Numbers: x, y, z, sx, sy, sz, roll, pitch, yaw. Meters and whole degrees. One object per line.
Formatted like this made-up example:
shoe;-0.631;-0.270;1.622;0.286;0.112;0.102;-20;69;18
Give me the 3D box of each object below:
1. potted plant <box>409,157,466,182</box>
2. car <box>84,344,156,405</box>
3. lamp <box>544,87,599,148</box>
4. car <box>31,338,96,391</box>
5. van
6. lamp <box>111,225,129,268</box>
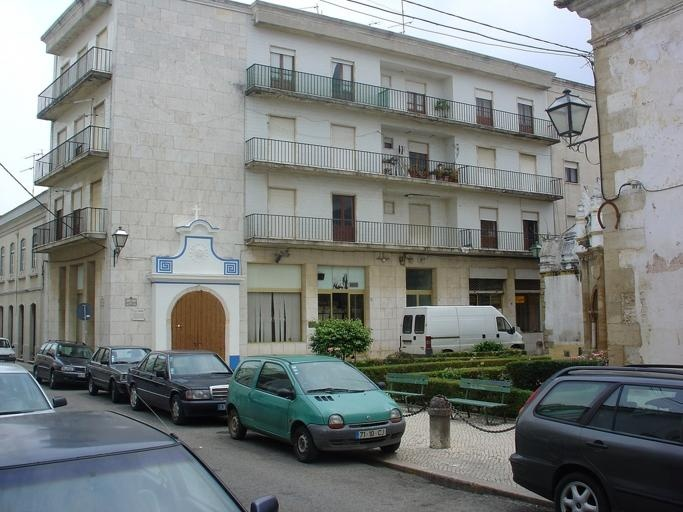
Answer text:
potted plant;4.542;-4.166;34.763;2.667;1.487;1.238;-2;-8;4
car;-6.716;3.550;21.899;1.468;1.120;2.662;3;-7;-32
lamp;5.169;-3.072;16.458;1.082;1.350;1.082;-13;23;-3
car;-9.592;3.788;25.096;1.507;1.216;2.723;6;-8;-33
van;5.006;3.047;30.265;4.678;2.123;2.263;-2;-1;-24
lamp;-8.337;-0.371;26.882;0.580;1.373;0.890;1;-9;-18
